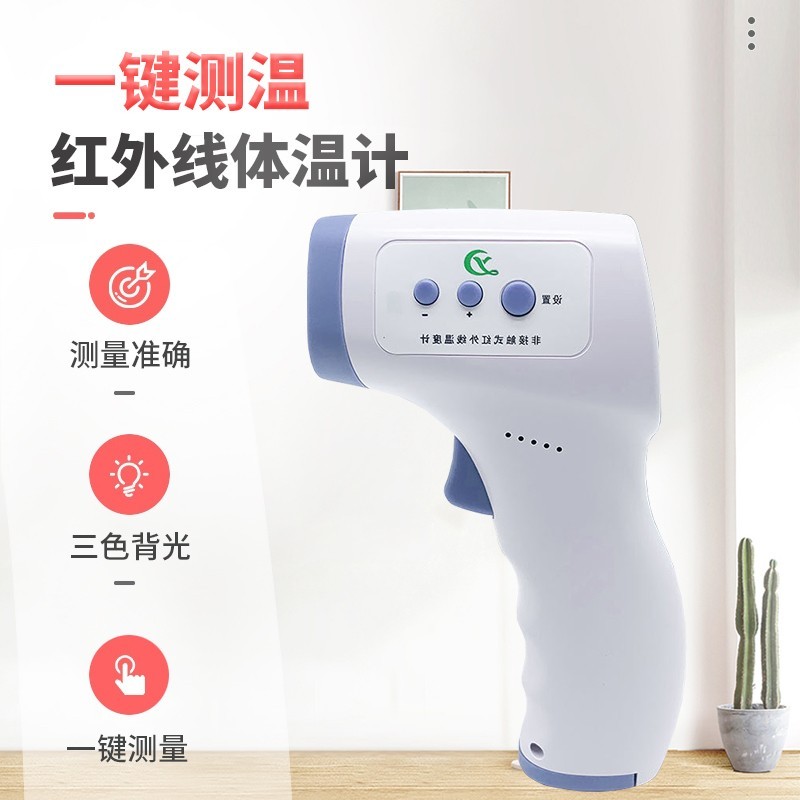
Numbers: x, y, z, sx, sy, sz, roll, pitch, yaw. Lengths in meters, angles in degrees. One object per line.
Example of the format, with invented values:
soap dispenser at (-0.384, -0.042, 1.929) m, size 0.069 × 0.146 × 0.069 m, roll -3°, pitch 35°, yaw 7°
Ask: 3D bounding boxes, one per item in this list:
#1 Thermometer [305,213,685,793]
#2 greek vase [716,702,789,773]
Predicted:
Thermometer at (0.079, 0.076, 0.770) m, size 0.282 × 0.460 × 0.082 m, roll -2°, pitch 8°, yaw 13°
greek vase at (0.454, 0.435, 1.242) m, size 0.075 × 0.071 × 0.085 m, roll -1°, pitch -13°, yaw 6°
